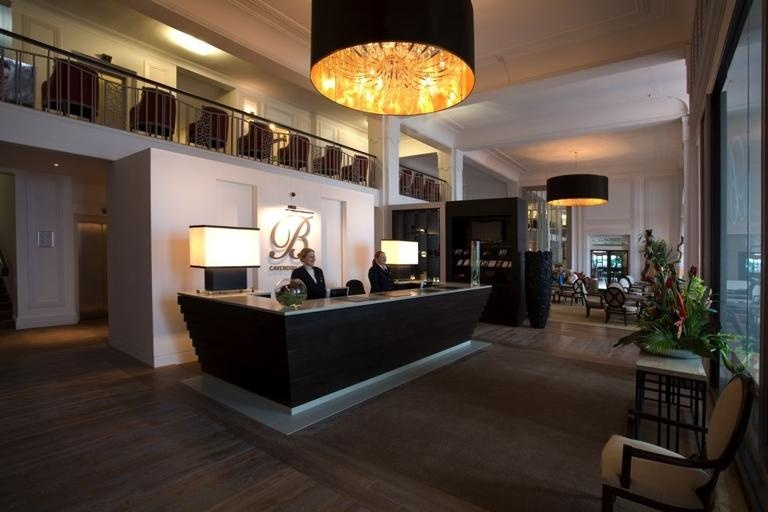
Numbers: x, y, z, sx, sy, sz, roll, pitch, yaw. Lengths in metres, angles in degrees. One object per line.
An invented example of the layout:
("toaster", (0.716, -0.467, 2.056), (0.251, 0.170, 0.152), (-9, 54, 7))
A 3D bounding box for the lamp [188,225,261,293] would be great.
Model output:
("lamp", (-2.719, 0.029, 8.191), (0.672, 1.336, 1.177), (-2, -2, 44))

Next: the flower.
("flower", (3.767, 0.841, 6.454), (1.355, 0.966, 1.353), (3, 5, -22))

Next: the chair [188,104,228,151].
("chair", (-3.766, -2.717, 10.596), (0.586, 0.980, 1.037), (-2, 3, -40))

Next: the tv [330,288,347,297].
("tv", (-0.747, 0.582, 8.031), (0.258, 0.126, 0.327), (0, 2, 2))

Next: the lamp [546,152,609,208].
("lamp", (4.671, -1.809, 12.121), (1.179, 0.529, 1.227), (-1, -3, 40))

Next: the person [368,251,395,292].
("person", (-0.073, 0.302, 9.825), (0.481, 0.839, 0.676), (1, 3, 21))

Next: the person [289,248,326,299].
("person", (-1.331, 0.291, 8.647), (0.545, 0.847, 0.452), (0, 3, -9))

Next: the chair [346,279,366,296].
("chair", (-0.564, 0.602, 9.756), (0.308, 0.463, 0.310), (0, 0, -29))
